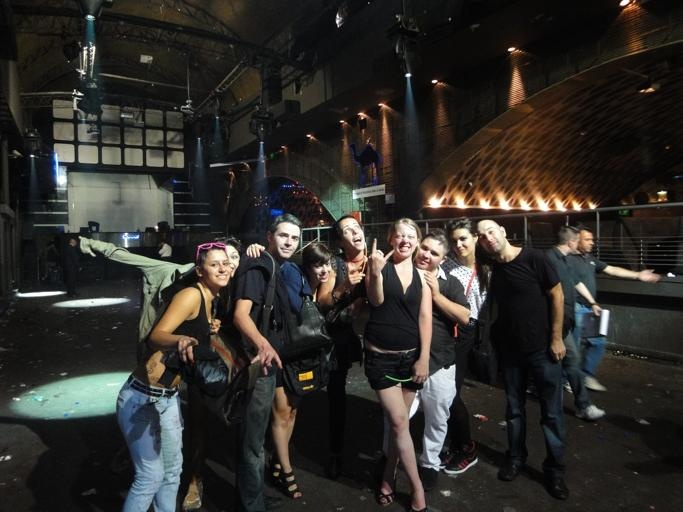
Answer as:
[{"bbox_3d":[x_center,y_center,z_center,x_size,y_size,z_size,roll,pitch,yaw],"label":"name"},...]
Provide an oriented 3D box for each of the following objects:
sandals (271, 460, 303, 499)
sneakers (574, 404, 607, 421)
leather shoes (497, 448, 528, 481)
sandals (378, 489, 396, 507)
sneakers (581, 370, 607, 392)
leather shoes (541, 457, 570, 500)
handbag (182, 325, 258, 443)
[{"bbox_3d":[-0.593,2.298,5.189,0.171,0.205,0.498,2,2,-41],"label":"sandals"},{"bbox_3d":[3.087,1.935,6.175,0.297,0.133,0.178,-12,17,40],"label":"sneakers"},{"bbox_3d":[1.804,2.183,5.287,0.269,0.273,0.340,1,5,22],"label":"leather shoes"},{"bbox_3d":[0.450,2.383,4.969,0.186,0.134,0.140,0,4,1],"label":"sandals"},{"bbox_3d":[3.497,1.734,7.098,0.215,0.223,0.509,-3,1,-11],"label":"sneakers"},{"bbox_3d":[2.136,2.232,5.048,0.148,0.172,0.433,-8,24,4],"label":"leather shoes"},{"bbox_3d":[-1.041,1.070,4.315,0.530,0.698,0.518,1,4,19],"label":"handbag"}]
